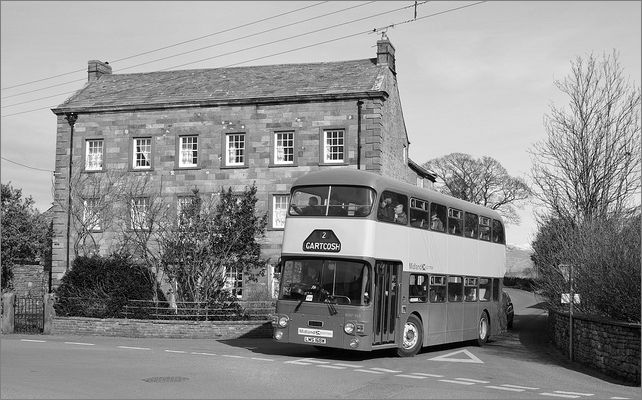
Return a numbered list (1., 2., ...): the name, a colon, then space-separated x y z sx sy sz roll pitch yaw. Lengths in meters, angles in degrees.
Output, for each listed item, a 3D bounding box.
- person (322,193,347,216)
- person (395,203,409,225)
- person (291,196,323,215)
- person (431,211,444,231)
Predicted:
1. person: 0.677 0.210 31.767 0.847 0.944 0.445 2 2 10
2. person: 3.351 0.610 32.779 0.393 0.663 0.828 -1 4 23
3. person: -0.515 0.243 32.061 1.232 0.785 0.414 2 2 8
4. person: 5.173 0.990 34.786 0.263 0.766 0.748 -7 -2 22
